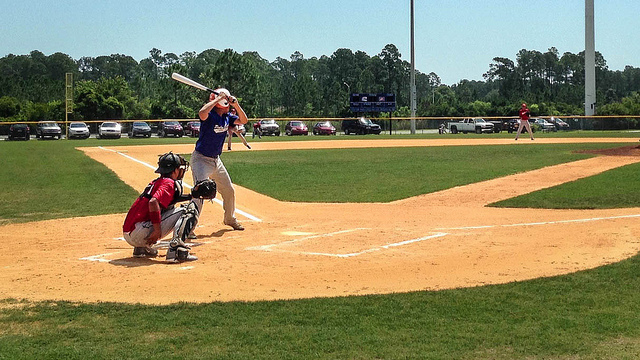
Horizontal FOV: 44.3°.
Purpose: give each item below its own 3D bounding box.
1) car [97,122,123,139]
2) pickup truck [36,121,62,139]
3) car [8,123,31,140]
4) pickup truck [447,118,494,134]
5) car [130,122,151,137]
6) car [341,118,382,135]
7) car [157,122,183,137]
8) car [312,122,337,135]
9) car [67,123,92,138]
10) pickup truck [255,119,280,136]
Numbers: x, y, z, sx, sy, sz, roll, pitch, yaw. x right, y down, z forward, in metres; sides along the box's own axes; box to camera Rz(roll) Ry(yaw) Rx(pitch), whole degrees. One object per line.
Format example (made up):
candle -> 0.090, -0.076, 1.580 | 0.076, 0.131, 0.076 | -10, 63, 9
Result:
car -> -16.881, -4.116, 64.316 | 1.850, 1.055, 3.635 | -3, 4, -22
pickup truck -> -21.408, -3.974, 63.036 | 1.878, 1.252, 1.131 | 0, 5, -1
car -> -23.685, -3.932, 62.653 | 1.115, 0.707, 1.729 | -3, 11, -27
pickup truck -> 13.344, -4.781, 69.027 | 1.564, 0.979, 3.166 | -5, 5, -43
car -> -14.685, -4.239, 65.611 | 1.363, 1.193, 1.900 | -2, 5, -19
car -> 3.777, -4.759, 68.792 | 3.078, 1.032, 1.491 | 1, 4, 41
car -> -12.298, -4.279, 66.192 | 1.435, 1.210, 2.471 | -2, 5, -23
car -> 0.447, -4.542, 68.592 | 1.524, 1.026, 2.034 | -2, 5, -22
car -> -19.241, -4.025, 63.455 | 1.518, 1.102, 1.613 | -2, 5, -26
pickup truck -> -4.269, -4.643, 68.371 | 1.219, 0.901, 2.038 | -1, 0, -13
